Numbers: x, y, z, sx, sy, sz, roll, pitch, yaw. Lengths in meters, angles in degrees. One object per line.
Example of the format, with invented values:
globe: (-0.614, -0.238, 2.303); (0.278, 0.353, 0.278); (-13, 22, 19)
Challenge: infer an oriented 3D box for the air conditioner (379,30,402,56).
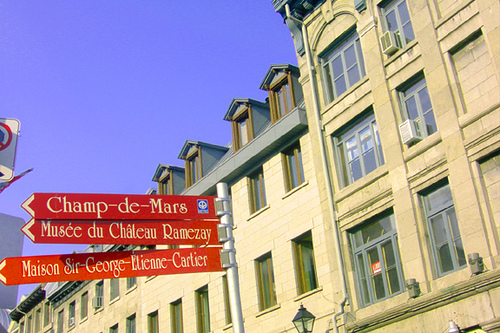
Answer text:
air conditioner: (5.367, -4.657, 21.254); (0.854, 0.898, 0.879); (-9, -27, 13)

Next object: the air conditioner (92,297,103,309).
air conditioner: (-10.076, 9.011, 37.314); (0.378, 0.517, 0.704); (18, -40, -28)
